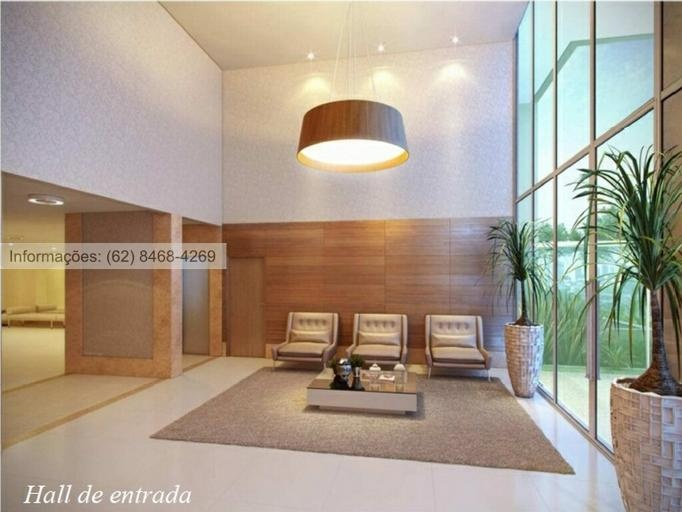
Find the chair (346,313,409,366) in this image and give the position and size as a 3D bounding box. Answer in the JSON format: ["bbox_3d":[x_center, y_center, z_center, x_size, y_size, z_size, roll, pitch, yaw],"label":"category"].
[{"bbox_3d":[0.723,1.551,9.048,1.057,0.741,1.147,1,8,7],"label":"chair"}]

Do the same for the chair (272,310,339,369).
[{"bbox_3d":[-0.609,1.620,9.351,1.030,1.009,1.130,-2,-11,12],"label":"chair"}]

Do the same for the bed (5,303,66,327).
[{"bbox_3d":[-9.401,1.811,14.777,1.503,0.520,2.504,-6,10,-36],"label":"bed"}]

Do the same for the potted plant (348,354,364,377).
[{"bbox_3d":[0.244,1.686,7.579,0.260,0.307,0.266,0,-13,1],"label":"potted plant"}]

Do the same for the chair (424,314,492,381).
[{"bbox_3d":[2.072,1.606,8.734,1.066,1.040,1.166,-1,-13,9],"label":"chair"}]

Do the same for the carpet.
[{"bbox_3d":[0.340,2.158,7.405,5.220,0.463,3.142,1,8,8],"label":"carpet"}]
